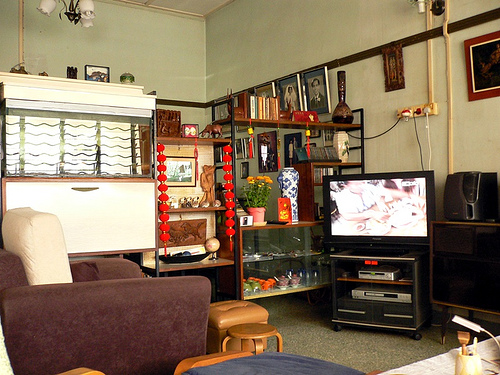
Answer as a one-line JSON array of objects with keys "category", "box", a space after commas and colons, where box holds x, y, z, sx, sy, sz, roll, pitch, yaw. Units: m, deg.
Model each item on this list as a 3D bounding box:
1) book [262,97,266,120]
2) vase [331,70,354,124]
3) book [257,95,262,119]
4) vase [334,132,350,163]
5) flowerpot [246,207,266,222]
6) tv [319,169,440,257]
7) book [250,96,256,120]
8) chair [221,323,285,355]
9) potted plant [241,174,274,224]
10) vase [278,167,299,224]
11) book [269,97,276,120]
[{"category": "book", "box": [0.148, -0.853, 4.398, 0.042, 0.222, 0.015, -1, 0, -34]}, {"category": "vase", "box": [1.039, -1.013, 4.602, 0.223, 0.598, 0.135, -1, 0, 12]}, {"category": "book", "box": [0.107, -0.844, 4.347, 0.042, 0.234, 0.093, -1, 0, 2]}, {"category": "vase", "box": [1.052, -0.468, 4.702, 0.153, 0.347, 0.105, -1, 0, 10]}, {"category": "flowerpot", "box": [0.065, 0.283, 4.321, 0.154, 0.117, 0.156, -1, -2, 5]}, {"category": "tv", "box": [1.295, 0.254, 3.980, 0.853, 0.618, 0.231, -2, -4, 20]}, {"category": "book", "box": [0.026, -0.854, 4.339, 0.024, 0.228, 0.105, -2, 0, 39]}, {"category": "chair", "box": [0.098, 1.044, 2.782, 0.256, 0.183, 0.264, -9, -9, -14]}, {"category": "potted plant", "box": [0.100, 0.134, 4.467, 0.369, 0.562, 0.341, -1, -2, 13]}, {"category": "vase", "box": [0.466, 0.084, 4.500, 0.264, 0.581, 0.172, -1, 0, -42]}, {"category": "book", "box": [0.242, -0.843, 4.398, 0.078, 0.233, 0.118, -1, 0, 2]}]
